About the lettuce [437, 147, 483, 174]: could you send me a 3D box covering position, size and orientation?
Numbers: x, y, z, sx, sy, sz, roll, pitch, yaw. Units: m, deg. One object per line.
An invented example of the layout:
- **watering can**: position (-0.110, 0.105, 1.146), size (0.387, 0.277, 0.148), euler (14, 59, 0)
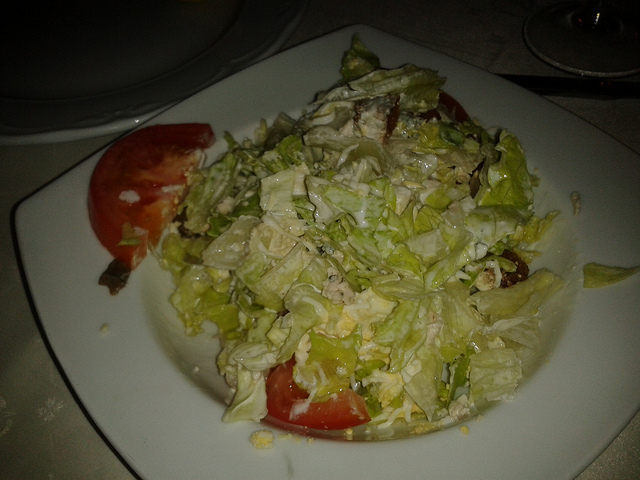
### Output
- **lettuce**: position (0.474, -0.283, 2.015), size (0.123, 0.038, 0.087), euler (34, 65, -6)

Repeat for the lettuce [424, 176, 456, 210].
- **lettuce**: position (0.393, -0.151, 1.932), size (0.094, 0.026, 0.102), euler (-26, 97, -19)

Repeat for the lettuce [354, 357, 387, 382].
- **lettuce**: position (0.156, 0.400, 1.864), size (0.076, 0.024, 0.087), euler (-2, 102, -6)

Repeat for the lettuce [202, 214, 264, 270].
- **lettuce**: position (-0.282, -0.015, 1.912), size (0.191, 0.333, 0.068), euler (3, 52, -11)

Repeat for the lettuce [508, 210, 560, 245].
- **lettuce**: position (0.700, -0.040, 1.964), size (0.068, 0.155, 0.059), euler (-18, 70, -12)

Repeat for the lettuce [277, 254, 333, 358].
- **lettuce**: position (-0.044, 0.199, 1.845), size (0.140, 0.042, 0.318), euler (22, 79, 14)

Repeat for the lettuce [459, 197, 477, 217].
- **lettuce**: position (0.479, -0.108, 1.929), size (0.054, 0.016, 0.053), euler (-43, 92, -17)

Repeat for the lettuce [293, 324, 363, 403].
- **lettuce**: position (0.077, 0.337, 1.819), size (0.224, 0.308, 0.074), euler (-18, 107, -13)

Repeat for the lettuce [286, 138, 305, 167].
- **lettuce**: position (-0.080, -0.288, 1.930), size (0.079, 0.022, 0.089), euler (-7, 87, -31)

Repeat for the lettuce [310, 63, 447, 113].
- **lettuce**: position (0.205, -0.533, 2.108), size (0.508, 0.094, 0.189), euler (-8, 96, -6)

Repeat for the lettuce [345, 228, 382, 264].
- **lettuce**: position (0.127, 0.011, 1.839), size (0.036, 0.121, 0.161), euler (-36, 31, 18)

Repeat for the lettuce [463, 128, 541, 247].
- **lettuce**: position (0.644, -0.121, 2.031), size (0.259, 0.423, 0.118), euler (47, 113, 15)

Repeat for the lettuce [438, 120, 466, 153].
- **lettuce**: position (0.453, -0.360, 2.023), size (0.052, 0.021, 0.120), euler (-19, 68, -25)

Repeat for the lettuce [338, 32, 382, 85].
- **lettuce**: position (0.130, -0.662, 2.174), size (0.150, 0.260, 0.065), euler (-10, 84, -5)

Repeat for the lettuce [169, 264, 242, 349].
- **lettuce**: position (-0.364, 0.186, 1.993), size (0.304, 0.076, 0.287), euler (14, 44, 38)

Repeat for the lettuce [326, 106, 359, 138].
- **lettuce**: position (0.080, -0.389, 1.984), size (0.102, 0.070, 0.101), euler (-8, 84, 21)

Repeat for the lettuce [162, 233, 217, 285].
- **lettuce**: position (-0.450, 0.042, 2.014), size (0.160, 0.051, 0.178), euler (-7, 75, -27)

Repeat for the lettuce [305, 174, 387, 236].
- **lettuce**: position (0.079, -0.104, 1.791), size (0.219, 0.071, 0.164), euler (12, 114, 2)

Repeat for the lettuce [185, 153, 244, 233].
- **lettuce**: position (-0.366, -0.169, 2.105), size (0.148, 0.080, 0.299), euler (26, 83, 7)

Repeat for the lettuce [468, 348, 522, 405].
- **lettuce**: position (0.531, 0.422, 1.781), size (0.174, 0.206, 0.060), euler (-24, 116, 19)
